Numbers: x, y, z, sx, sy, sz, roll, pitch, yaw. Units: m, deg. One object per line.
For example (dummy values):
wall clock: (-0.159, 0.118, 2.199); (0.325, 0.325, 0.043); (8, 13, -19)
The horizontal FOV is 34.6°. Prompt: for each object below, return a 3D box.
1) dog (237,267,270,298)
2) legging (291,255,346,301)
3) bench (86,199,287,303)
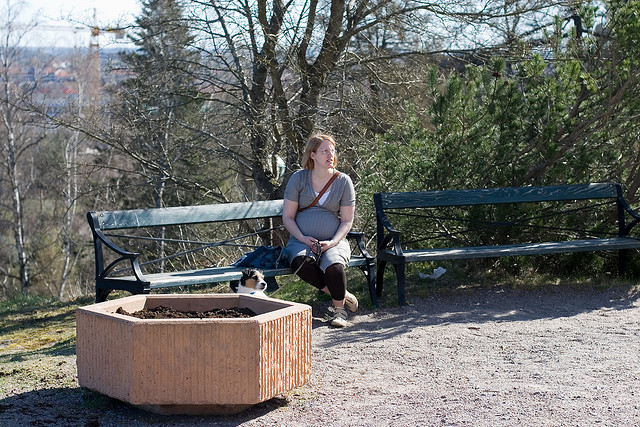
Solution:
dog: (-0.943, 1.004, 14.113); (0.438, 0.528, 0.459); (2, 0, 41)
legging: (-0.015, 0.920, 14.676); (0.748, 0.663, 0.222); (-1, 2, -4)
bench: (-2.234, 0.576, 19.053); (2.925, 1.685, 9.477); (-1, 1, -5)
